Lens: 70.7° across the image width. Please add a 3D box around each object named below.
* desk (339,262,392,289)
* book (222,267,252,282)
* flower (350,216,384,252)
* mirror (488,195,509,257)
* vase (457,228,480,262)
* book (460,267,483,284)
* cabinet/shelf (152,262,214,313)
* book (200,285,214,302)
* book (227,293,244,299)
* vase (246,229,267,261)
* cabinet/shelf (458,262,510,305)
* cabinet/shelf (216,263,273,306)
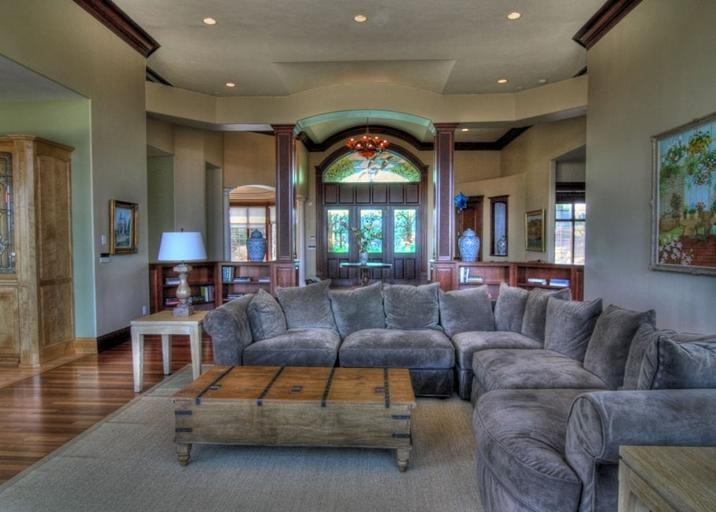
[{"bbox_3d":[0.164,0.305,11.108,0.812,0.467,0.789,0,0,-8],"label":"desk"},{"bbox_3d":[-2.060,0.306,8.601,0.477,0.281,0.202,-2,3,-6],"label":"book"},{"bbox_3d":[0.283,-0.492,12.277,0.865,0.844,0.734,2,-5,-6],"label":"flower"},{"bbox_3d":[3.195,-0.666,11.370,0.076,1.349,0.571,-7,10,-26],"label":"mirror"},{"bbox_3d":[1.887,-0.180,8.579,0.321,0.550,0.373,-1,3,11],"label":"vase"},{"bbox_3d":[1.906,0.324,8.496,0.291,0.254,0.093,0,-10,-6],"label":"book"},{"bbox_3d":[-2.653,0.468,7.519,0.829,0.743,0.289,2,-3,-44],"label":"cabinet/shelf"},{"bbox_3d":[-2.508,0.619,8.417,0.225,0.334,0.368,0,1,-15],"label":"book"},{"bbox_3d":[-1.987,0.641,8.129,0.223,0.049,0.210,1,2,7],"label":"book"},{"bbox_3d":[-1.781,-0.212,8.890,0.370,0.567,0.361,0,-5,-27],"label":"vase"},{"bbox_3d":[1.848,0.383,7.319,0.622,0.568,0.193,0,-3,2],"label":"cabinet/shelf"},{"bbox_3d":[-1.798,0.433,7.826,0.756,0.687,0.234,0,1,-7],"label":"cabinet/shelf"}]
